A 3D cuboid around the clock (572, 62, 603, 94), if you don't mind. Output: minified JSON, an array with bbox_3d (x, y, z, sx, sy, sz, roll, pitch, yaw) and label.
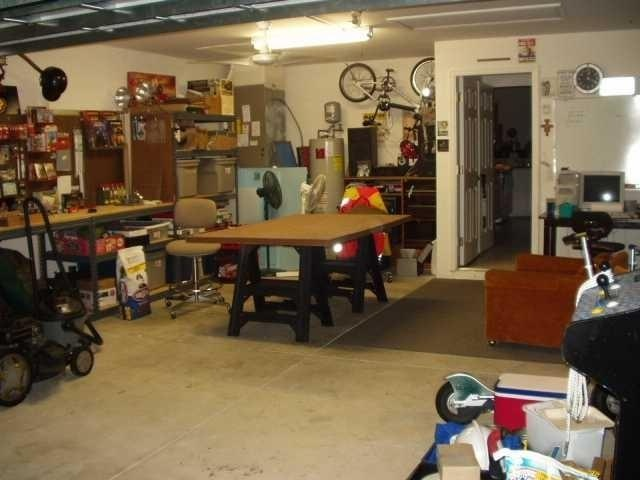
[{"bbox_3d":[3.478,-2.091,6.663,0.339,0.374,0.074,0,10,8],"label":"clock"}]

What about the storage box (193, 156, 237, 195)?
[{"bbox_3d":[-1.470,-0.912,7.469,0.518,0.556,0.599,1,4,22],"label":"storage box"}]

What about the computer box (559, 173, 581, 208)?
[{"bbox_3d":[3.217,-0.633,6.694,0.322,0.458,0.335,1,-10,31],"label":"computer box"}]

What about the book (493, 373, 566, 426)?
[{"bbox_3d":[1.116,0.840,2.786,0.377,0.180,0.263,1,6,15],"label":"book"}]

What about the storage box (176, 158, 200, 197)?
[{"bbox_3d":[-1.769,-0.817,6.830,0.098,0.505,0.359,4,10,26],"label":"storage box"}]

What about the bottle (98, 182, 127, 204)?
[{"bbox_3d":[-2.640,-0.584,6.481,0.174,0.291,0.317,1,4,26],"label":"bottle"}]

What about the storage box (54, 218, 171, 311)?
[{"bbox_3d":[-2.522,0.108,6.179,0.936,1.132,1.718,4,7,22],"label":"storage box"}]

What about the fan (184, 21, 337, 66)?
[{"bbox_3d":[-0.569,-2.686,6.904,1.094,0.424,1.094,2,12,25],"label":"fan"}]

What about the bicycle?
[{"bbox_3d":[1.137,-2.647,9.194,1.659,1.003,0.916,6,11,15],"label":"bicycle"}]

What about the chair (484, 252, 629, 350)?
[{"bbox_3d":[2.041,0.449,4.608,0.946,0.715,0.962,3,8,22],"label":"chair"}]

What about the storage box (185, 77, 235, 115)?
[{"bbox_3d":[-1.711,-2.187,7.843,0.704,0.547,0.534,0,9,4],"label":"storage box"}]

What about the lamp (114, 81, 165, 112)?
[{"bbox_3d":[-2.620,-2.101,7.404,0.675,0.463,1.442,-3,9,-15],"label":"lamp"}]

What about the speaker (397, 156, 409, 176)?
[{"bbox_3d":[1.472,-1.301,9.016,0.202,0.336,0.141,2,10,20],"label":"speaker"}]

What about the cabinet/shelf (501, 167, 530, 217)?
[{"bbox_3d":[5.100,-1.233,13.324,0.763,1.275,0.372,0,10,4],"label":"cabinet/shelf"}]

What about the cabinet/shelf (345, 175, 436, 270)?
[{"bbox_3d":[1.105,-0.268,7.637,1.651,1.462,0.484,0,1,6],"label":"cabinet/shelf"}]
